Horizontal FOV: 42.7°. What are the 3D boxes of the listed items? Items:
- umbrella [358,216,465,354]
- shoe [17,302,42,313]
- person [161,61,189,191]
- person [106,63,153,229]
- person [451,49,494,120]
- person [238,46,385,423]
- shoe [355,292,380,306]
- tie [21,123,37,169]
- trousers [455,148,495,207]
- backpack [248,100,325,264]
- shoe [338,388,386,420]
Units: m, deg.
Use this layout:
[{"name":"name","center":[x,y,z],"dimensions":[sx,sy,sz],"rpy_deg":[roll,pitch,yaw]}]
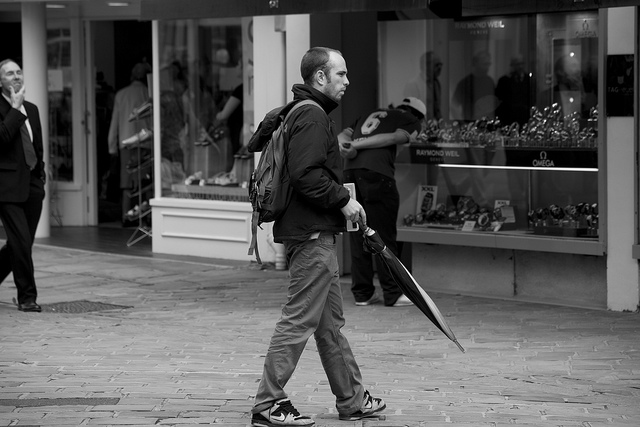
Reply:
[{"name":"umbrella","center":[0.942,0.733,8.206],"dimensions":[0.223,1.419,0.248],"rpy_deg":[-41,-5,10]},{"name":"shoe","center":[-3.015,0.977,8.503],"dimensions":[0.212,0.089,0.096],"rpy_deg":[-1,-2,4]},{"name":"person","center":[-2.093,-1.260,11.851],"dimensions":[0.423,1.834,0.122],"rpy_deg":[1,8,13]},{"name":"person","center":[-3.050,-1.075,13.463],"dimensions":[0.663,2.729,0.730],"rpy_deg":[-5,9,-31]},{"name":"person","center":[1.826,-1.523,9.650],"dimensions":[0.492,0.799,0.138],"rpy_deg":[5,10,35]},{"name":"person","center":[-0.047,0.174,5.700],"dimensions":[0.852,2.609,0.541],"rpy_deg":[-1,8,-2]},{"name":"shoe","center":[0.536,0.942,8.965],"dimensions":[0.109,0.125,0.292],"rpy_deg":[6,12,37]},{"name":"tie","center":[-2.989,-0.693,8.397],"dimensions":[0.131,0.432,0.089],"rpy_deg":[-1,8,-2]},{"name":"trousers","center":[1.822,-0.425,9.534],"dimensions":[0.447,0.658,0.057],"rpy_deg":[6,10,36]},{"name":"backpack","center":[-0.267,-0.249,5.737],"dimensions":[0.501,1.076,0.268],"rpy_deg":[1,8,11]},{"name":"shoe","center":[0.349,1.371,5.938],"dimensions":[0.382,0.220,0.146],"rpy_deg":[-3,5,-29]}]
